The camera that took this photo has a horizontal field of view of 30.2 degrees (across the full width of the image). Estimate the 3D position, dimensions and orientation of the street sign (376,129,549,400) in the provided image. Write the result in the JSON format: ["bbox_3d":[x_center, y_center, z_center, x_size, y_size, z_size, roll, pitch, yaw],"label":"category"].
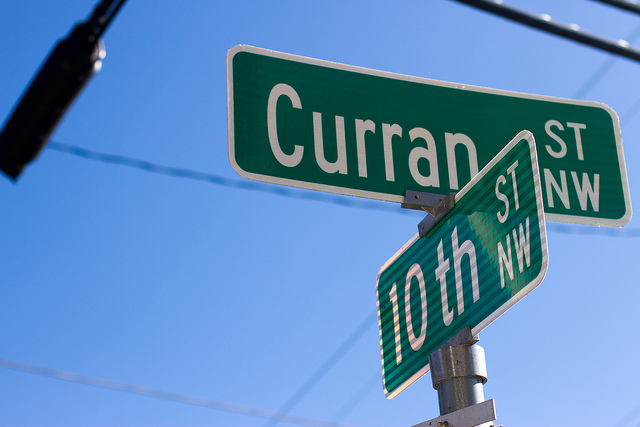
[{"bbox_3d":[0.602,0.157,5.135,0.069,0.715,0.981,19,-46,-29],"label":"street sign"}]
